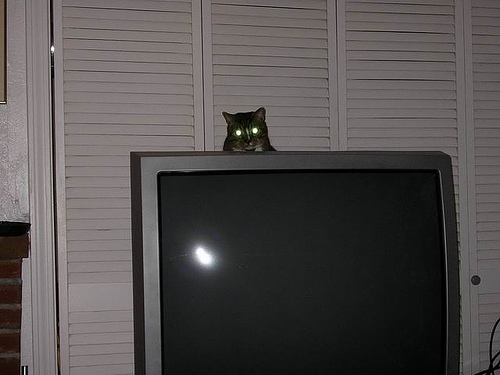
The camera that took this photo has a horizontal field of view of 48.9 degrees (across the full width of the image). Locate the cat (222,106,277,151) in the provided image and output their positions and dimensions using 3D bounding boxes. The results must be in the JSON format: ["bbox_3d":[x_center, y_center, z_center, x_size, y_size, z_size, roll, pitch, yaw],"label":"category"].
[{"bbox_3d":[-0.012,-0.238,2.317,0.221,0.207,0.302,-5,13,-8],"label":"cat"}]
